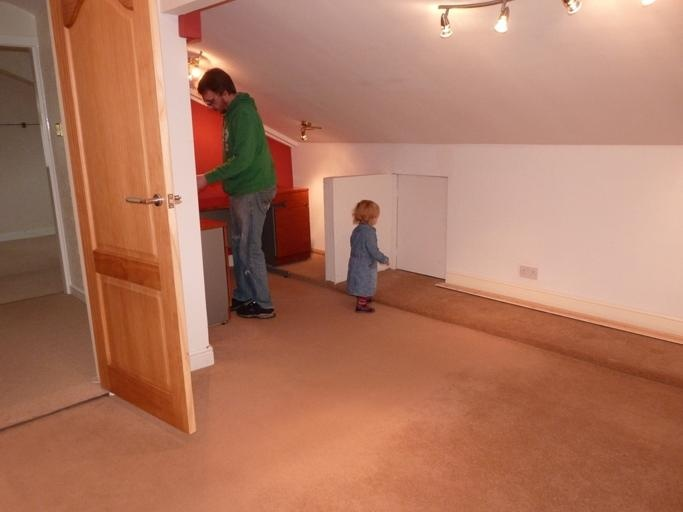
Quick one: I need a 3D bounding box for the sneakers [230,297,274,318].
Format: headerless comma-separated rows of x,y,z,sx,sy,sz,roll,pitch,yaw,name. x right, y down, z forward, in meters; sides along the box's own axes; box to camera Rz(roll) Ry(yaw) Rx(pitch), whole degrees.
-0.793,0.448,4.228,0.371,0.181,0.156,13,14,19,sneakers

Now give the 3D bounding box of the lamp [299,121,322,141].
-0.356,-1.410,5.378,0.238,0.189,0.144,-3,13,-21,lamp

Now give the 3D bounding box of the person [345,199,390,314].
0.224,0.004,4.187,0.326,0.953,0.234,2,13,1,person

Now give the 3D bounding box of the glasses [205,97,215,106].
-1.040,-1.242,3.863,0.060,0.041,0.079,26,9,15,glasses

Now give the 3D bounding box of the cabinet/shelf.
-0.966,-0.193,5.587,0.852,1.152,1.507,8,17,31,cabinet/shelf

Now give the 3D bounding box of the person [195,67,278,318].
-0.826,-0.474,3.988,0.621,2.012,0.614,-2,14,-16,person
